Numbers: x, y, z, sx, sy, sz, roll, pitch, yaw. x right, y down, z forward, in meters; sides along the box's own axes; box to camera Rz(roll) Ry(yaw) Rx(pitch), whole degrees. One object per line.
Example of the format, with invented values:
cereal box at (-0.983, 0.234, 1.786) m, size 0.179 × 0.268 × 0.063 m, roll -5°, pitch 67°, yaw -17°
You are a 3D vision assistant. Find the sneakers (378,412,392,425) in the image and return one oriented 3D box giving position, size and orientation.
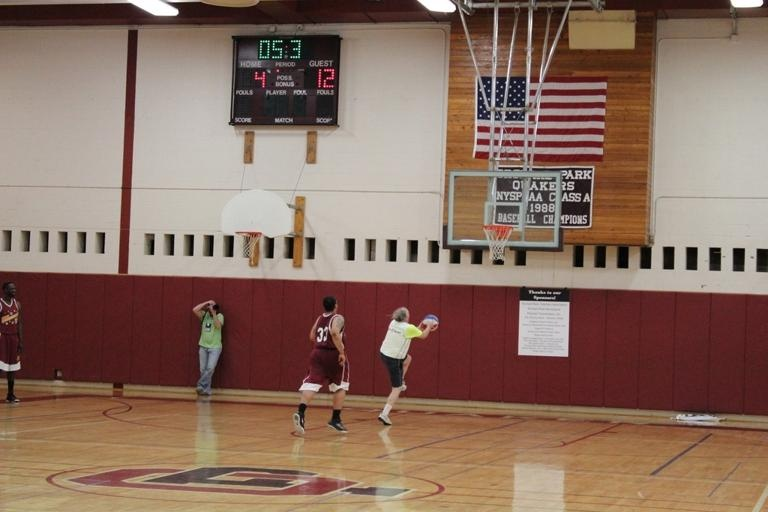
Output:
sneakers at (0.042, 3.172, 18.552) m, size 0.137 × 0.166 × 0.355 m, roll 35°, pitch -5°, yaw 40°

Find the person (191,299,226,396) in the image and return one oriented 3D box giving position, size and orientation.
person at (-3.946, 2.093, 21.838) m, size 0.654 × 2.130 × 0.589 m, roll 1°, pitch 2°, yaw -7°

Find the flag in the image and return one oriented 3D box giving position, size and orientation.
flag at (3.429, -2.939, 20.668) m, size 2.085 × 1.436 × 0.121 m, roll 0°, pitch 5°, yaw 10°

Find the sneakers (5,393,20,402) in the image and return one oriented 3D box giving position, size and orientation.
sneakers at (-7.677, 2.971, 19.998) m, size 0.368 × 0.161 × 0.124 m, roll -12°, pitch -13°, yaw 40°
